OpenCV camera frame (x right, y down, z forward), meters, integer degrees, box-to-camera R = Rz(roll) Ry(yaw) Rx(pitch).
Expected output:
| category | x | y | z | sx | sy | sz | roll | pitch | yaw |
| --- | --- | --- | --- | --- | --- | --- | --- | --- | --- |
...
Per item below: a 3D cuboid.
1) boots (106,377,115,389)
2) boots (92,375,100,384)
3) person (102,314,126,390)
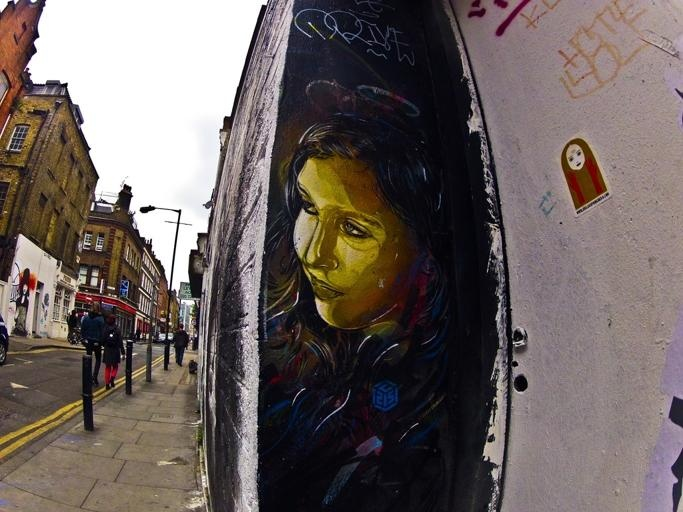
| category | x | y | z | sx | sy | sz | roll | pitch | yaw |
| --- | --- | --- | --- | --- | --- | --- | --- | --- | --- |
| boots | -4.232 | 2.345 | 8.523 | 0.097 | 0.205 | 0.260 | 5 | -9 | 5 |
| boots | -4.514 | 2.313 | 8.523 | 0.076 | 0.211 | 0.335 | 9 | -9 | -23 |
| person | -4.328 | 1.827 | 8.770 | 0.382 | 1.349 | 0.832 | 9 | -9 | -24 |
